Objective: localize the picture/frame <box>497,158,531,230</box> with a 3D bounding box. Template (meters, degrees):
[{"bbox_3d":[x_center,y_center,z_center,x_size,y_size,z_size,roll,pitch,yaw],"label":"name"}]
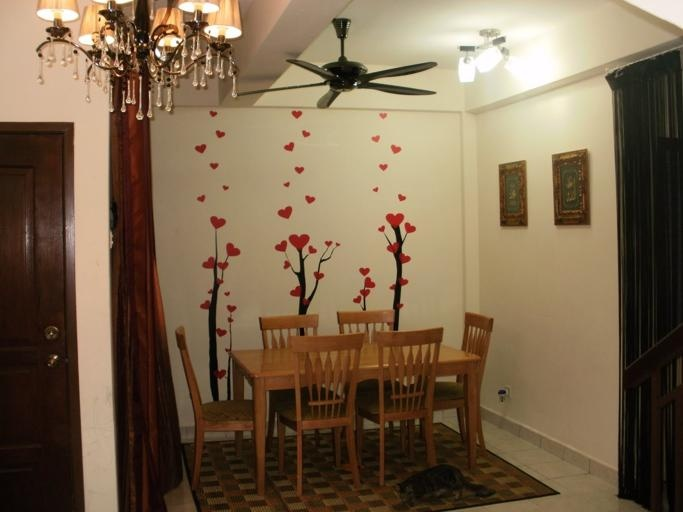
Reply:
[{"bbox_3d":[1.566,-0.552,5.135,0.039,0.593,0.360,-3,5,-23],"label":"picture/frame"}]

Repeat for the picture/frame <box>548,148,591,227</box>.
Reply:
[{"bbox_3d":[1.842,-0.536,4.519,0.051,0.591,0.376,-3,5,-24],"label":"picture/frame"}]
